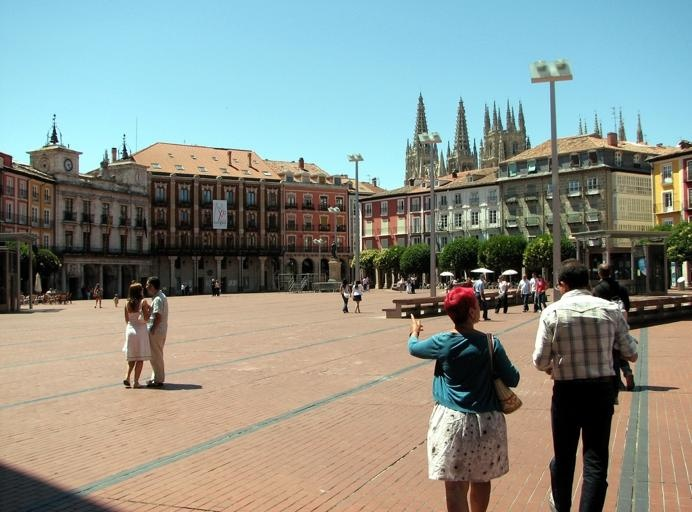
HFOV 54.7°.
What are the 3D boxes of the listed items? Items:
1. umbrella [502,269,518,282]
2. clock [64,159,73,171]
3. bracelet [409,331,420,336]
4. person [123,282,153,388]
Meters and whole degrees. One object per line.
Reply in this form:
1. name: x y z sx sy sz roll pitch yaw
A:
1. umbrella: 16.002 1.862 65.591 1.457 1.405 1.556 -1 -8 2
2. clock: -28.406 -9.277 68.482 0.090 1.303 1.225 -6 -6 22
3. bracelet: 0.569 0.660 5.624 0.071 0.059 0.076 -1 -3 20
4. person: -3.600 1.347 11.550 0.472 1.214 0.882 -1 1 -18
